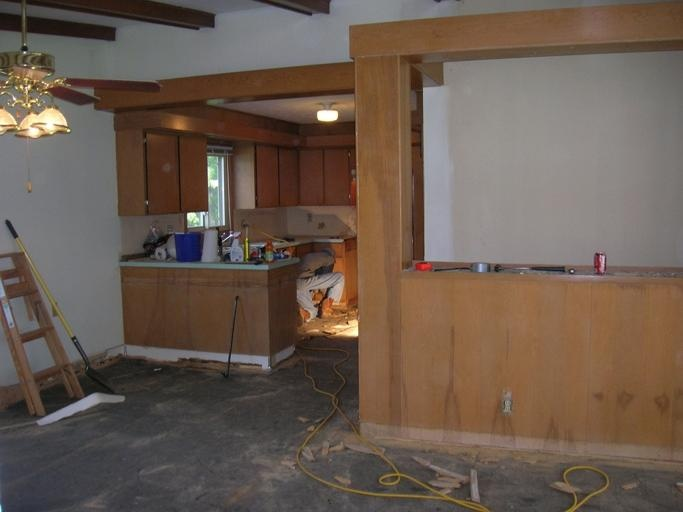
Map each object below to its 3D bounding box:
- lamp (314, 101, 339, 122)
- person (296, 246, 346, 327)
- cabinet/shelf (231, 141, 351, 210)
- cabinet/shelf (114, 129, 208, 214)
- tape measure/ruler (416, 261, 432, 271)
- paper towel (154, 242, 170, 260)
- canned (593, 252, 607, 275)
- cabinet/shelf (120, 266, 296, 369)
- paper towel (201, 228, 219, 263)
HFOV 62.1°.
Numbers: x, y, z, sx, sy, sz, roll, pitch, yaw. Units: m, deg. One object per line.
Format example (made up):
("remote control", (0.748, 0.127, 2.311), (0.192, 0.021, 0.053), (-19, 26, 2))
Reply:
("lamp", (-0.190, -1.821, 7.319), (0.257, 0.235, 0.255), (-3, 0, 21))
("person", (-0.274, 0.435, 8.033), (0.614, 0.972, 1.027), (0, 10, 3))
("cabinet/shelf", (-0.785, -1.235, 8.891), (1.607, 0.823, 1.119), (1, 0, -19))
("cabinet/shelf", (-2.134, -0.975, 6.532), (0.357, 0.842, 1.034), (1, 4, 28))
("tape measure/ruler", (0.657, 0.084, 4.490), (0.081, 0.047, 0.082), (0, -2, 41))
("paper towel", (-2.071, -0.047, 6.538), (0.183, 0.182, 0.245), (2, 3, -7))
("canned", (1.938, 0.058, 4.227), (0.082, 0.140, 0.159), (3, 10, 21))
("cabinet/shelf", (-1.517, 0.613, 6.633), (1.865, 1.121, 0.969), (2, 3, 19))
("paper towel", (-1.457, -0.112, 6.251), (0.200, 0.338, 0.320), (-3, 10, -14))
